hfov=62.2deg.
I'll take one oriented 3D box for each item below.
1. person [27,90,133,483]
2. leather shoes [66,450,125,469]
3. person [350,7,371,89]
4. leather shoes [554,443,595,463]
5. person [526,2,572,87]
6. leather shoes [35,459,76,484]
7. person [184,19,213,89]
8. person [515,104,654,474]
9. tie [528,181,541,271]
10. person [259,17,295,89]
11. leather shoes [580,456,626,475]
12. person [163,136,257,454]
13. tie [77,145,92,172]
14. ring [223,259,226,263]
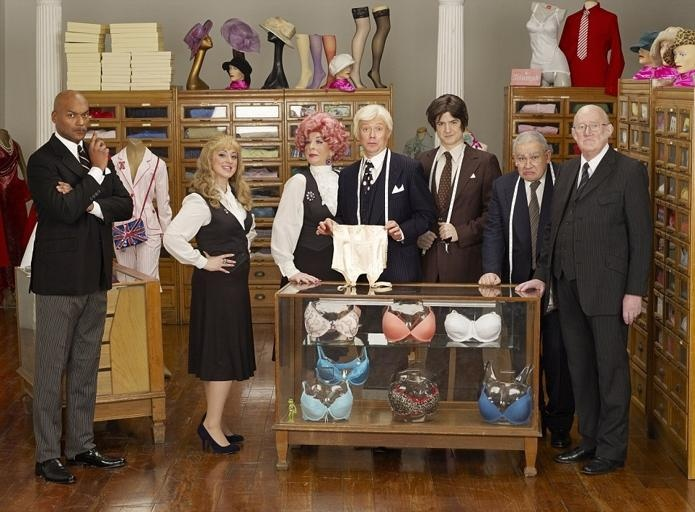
[{"bbox_3d":[-1.507,0.176,3.246,0.579,2.159,0.355,-5,9,-31],"label":"person"},{"bbox_3d":[-1.471,1.203,3.391,0.347,0.122,0.125,1,0,-1],"label":"leather shoes"},{"bbox_3d":[0.150,-2.373,6.555,0.199,0.936,0.314,0,8,1],"label":"person"},{"bbox_3d":[1.358,1.168,3.454,0.257,0.089,0.095,0,2,-11],"label":"leather shoes"},{"bbox_3d":[2.327,-2.424,6.598,0.492,0.998,0.324,2,8,19],"label":"person"},{"bbox_3d":[-1.636,1.192,3.222,0.226,0.104,0.115,6,4,28],"label":"leather shoes"},{"bbox_3d":[-1.779,-2.394,6.903,0.299,0.949,0.987,-2,8,-13],"label":"person"},{"bbox_3d":[1.390,0.217,3.418,0.561,2.080,0.654,-18,18,-40],"label":"person"},{"bbox_3d":[1.172,-0.205,3.633,0.078,0.518,0.101,3,-4,-4],"label":"tie"},{"bbox_3d":[-0.799,-2.340,6.672,0.377,0.854,0.461,-2,8,-8],"label":"person"},{"bbox_3d":[1.449,1.198,3.276,0.247,0.110,0.098,0,0,-16],"label":"leather shoes"},{"bbox_3d":[-0.834,0.244,3.559,0.533,1.956,0.383,-2,8,-11],"label":"person"},{"bbox_3d":[-1.484,-0.561,3.248,0.045,0.198,0.054,-20,-35,3],"label":"tie"},{"bbox_3d":[-0.731,0.030,3.436,0.026,0.015,0.019,-6,-8,-8],"label":"ring"}]
